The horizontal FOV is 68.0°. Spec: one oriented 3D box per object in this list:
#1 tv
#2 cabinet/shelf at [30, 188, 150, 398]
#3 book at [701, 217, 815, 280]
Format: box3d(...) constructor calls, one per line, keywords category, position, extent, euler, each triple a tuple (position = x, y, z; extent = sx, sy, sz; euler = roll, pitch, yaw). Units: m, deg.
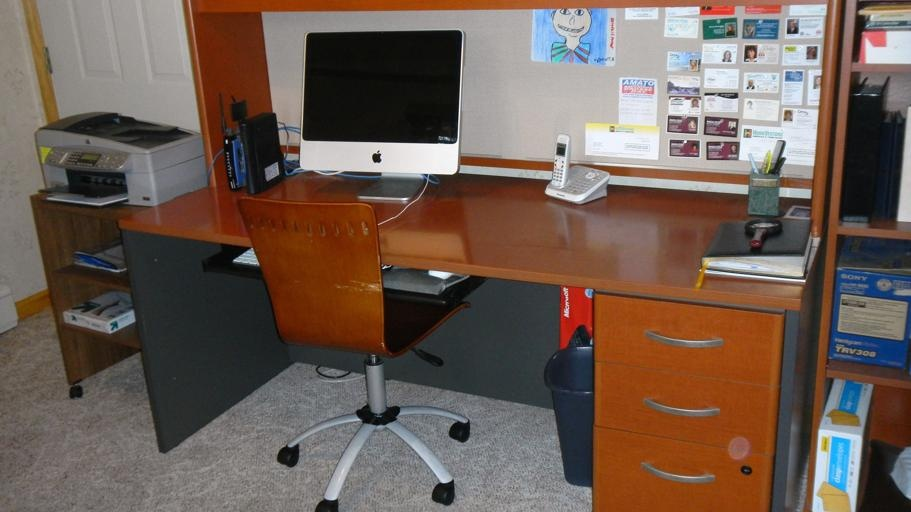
box3d(category="tv", position=(-0.354, -0.661, 3.254), extent=(1.009, 0.755, 0.129), euler=(-2, -1, 6))
box3d(category="cabinet/shelf", position=(-2.017, 0.149, 3.822), extent=(0.690, 1.283, 0.617), euler=(7, -2, -30))
box3d(category="book", position=(1.213, -0.042, 2.710), extent=(0.390, 0.149, 0.405), euler=(8, 22, 19))
